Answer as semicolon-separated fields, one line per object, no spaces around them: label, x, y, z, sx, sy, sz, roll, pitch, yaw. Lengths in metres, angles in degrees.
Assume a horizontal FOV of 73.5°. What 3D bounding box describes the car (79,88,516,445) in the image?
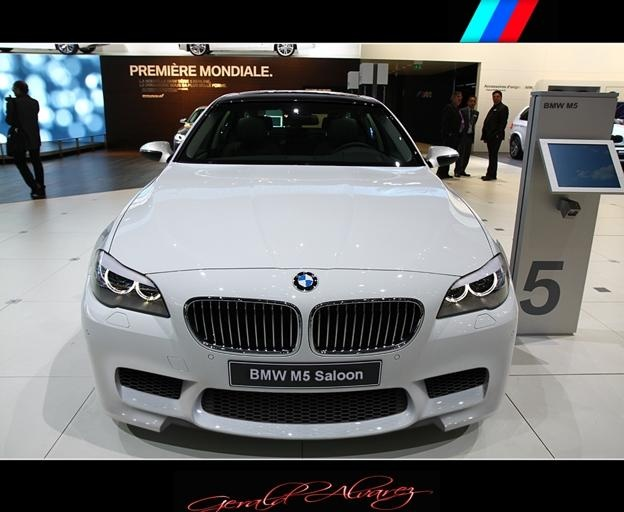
car;-0.099;-0.123;2.467;1.367;1.134;2.486;0;23;0
